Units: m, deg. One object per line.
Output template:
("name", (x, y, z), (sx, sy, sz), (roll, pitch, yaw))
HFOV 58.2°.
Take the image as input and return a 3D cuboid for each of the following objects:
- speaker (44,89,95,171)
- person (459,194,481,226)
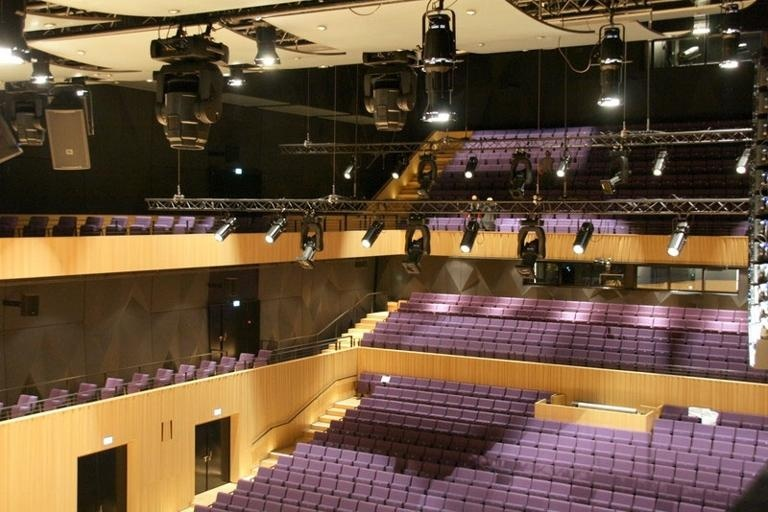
("speaker", (-4.585, -1.839, 9.989), (0.549, 1.105, 0.344), (-5, 15, -19))
("person", (2.135, -1.151, 17.553), (0.577, 0.769, 2.046), (1, 8, 7))
